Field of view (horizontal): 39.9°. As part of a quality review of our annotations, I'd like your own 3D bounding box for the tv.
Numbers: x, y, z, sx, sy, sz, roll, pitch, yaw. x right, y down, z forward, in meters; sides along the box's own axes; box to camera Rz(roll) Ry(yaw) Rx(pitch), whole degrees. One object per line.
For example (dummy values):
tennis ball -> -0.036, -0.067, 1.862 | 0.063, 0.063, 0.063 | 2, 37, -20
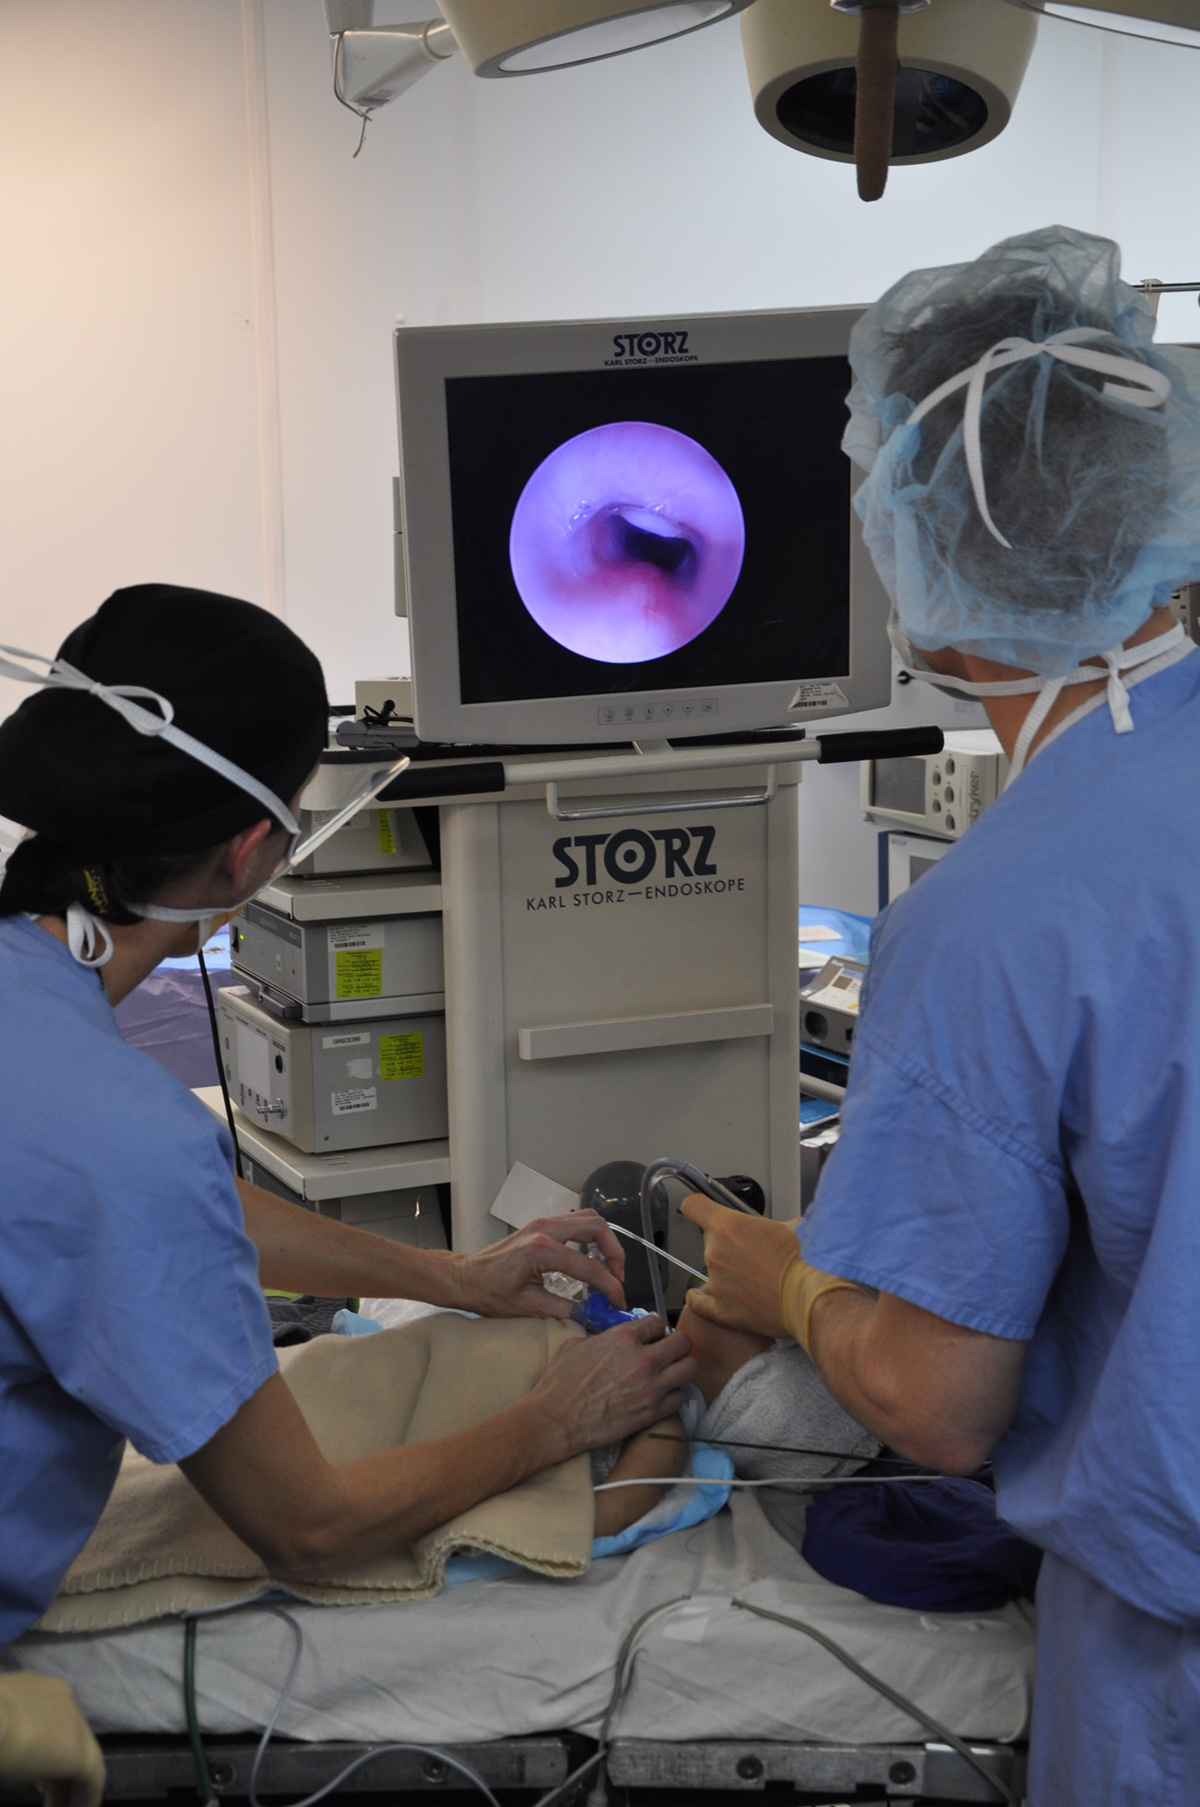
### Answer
tv -> 0.049, -0.468, 2.054 | 0.624, 0.479, 0.045 | -5, 16, -11
